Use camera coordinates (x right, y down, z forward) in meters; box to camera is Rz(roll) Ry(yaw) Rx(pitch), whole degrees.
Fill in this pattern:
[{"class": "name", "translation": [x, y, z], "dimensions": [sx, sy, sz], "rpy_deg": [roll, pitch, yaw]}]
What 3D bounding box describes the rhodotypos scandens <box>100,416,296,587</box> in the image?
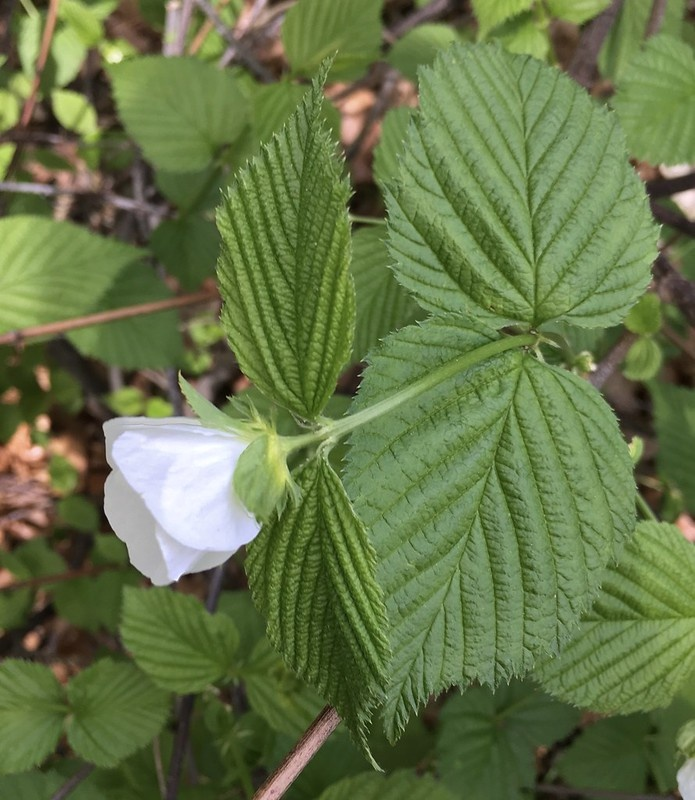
[{"class": "rhodotypos scandens", "translation": [-0.164, 0.099, 0.944], "dimensions": [0.167, 0.171, 0.127], "rpy_deg": [-15, 33, -11]}]
